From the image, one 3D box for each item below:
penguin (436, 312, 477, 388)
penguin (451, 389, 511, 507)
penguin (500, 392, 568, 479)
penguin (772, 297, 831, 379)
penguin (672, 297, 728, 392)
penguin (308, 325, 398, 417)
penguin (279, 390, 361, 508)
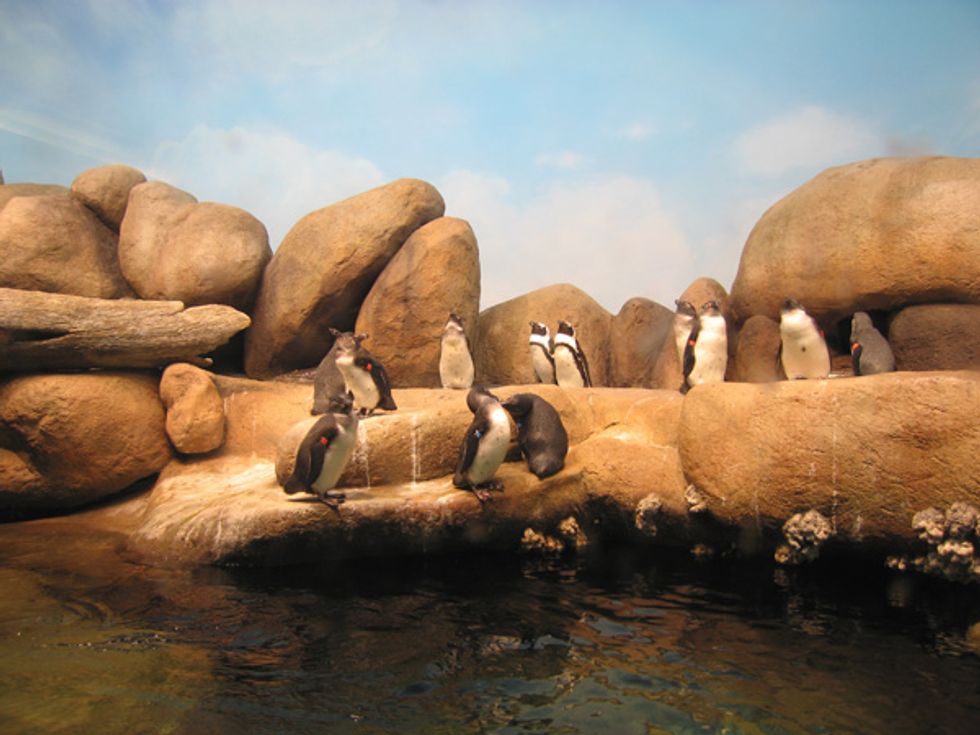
[{"bbox_3d":[-0.395,-0.212,11.213,0.401,0.928,0.495,0,11,-4],"label":"penguin"},{"bbox_3d":[-0.065,0.668,8.780,0.762,0.969,0.567,-6,-1,34],"label":"penguin"},{"bbox_3d":[0.443,0.644,9.039,0.655,0.786,0.563,1,3,4],"label":"penguin"},{"bbox_3d":[3.090,-0.273,9.057,0.576,0.823,0.663,-10,-6,24],"label":"penguin"},{"bbox_3d":[2.335,-0.240,10.128,0.524,1.045,0.963,3,10,10],"label":"penguin"},{"bbox_3d":[-1.452,0.003,9.954,0.862,0.972,0.720,-1,4,-35],"label":"penguin"},{"bbox_3d":[-1.516,0.730,8.271,0.703,0.904,0.632,0,4,-9],"label":"penguin"}]
